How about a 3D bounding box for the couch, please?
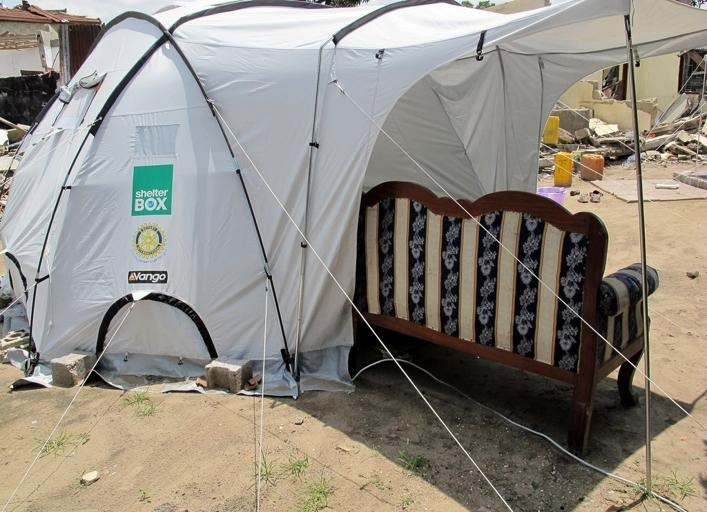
[{"bbox_3d":[1.256,0.662,4.960,2.018,1.493,0.735,13,18,42],"label":"couch"}]
